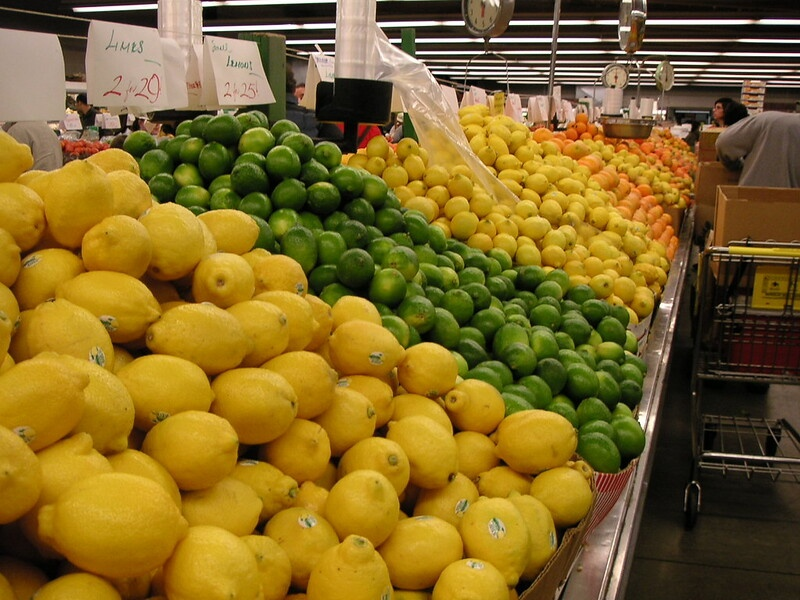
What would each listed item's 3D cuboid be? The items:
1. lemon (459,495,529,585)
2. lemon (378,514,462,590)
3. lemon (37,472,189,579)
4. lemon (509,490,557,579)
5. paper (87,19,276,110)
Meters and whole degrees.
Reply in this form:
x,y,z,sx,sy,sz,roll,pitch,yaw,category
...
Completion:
x,y,z,sx,sy,sz,roll,pitch,yaw,category
0.222,0.556,1.541,0.139,0.150,0.207,4,55,-20,lemon
0.047,0.581,1.473,0.166,0.136,0.139,-15,13,-11,lemon
-0.522,0.395,1.197,0.219,0.159,0.165,12,11,-9,lemon
0.331,0.595,1.586,0.106,0.144,0.117,-30,27,5,lemon
-0.986,-1.058,2.911,0.820,0.323,0.183,-7,17,-32,paper
